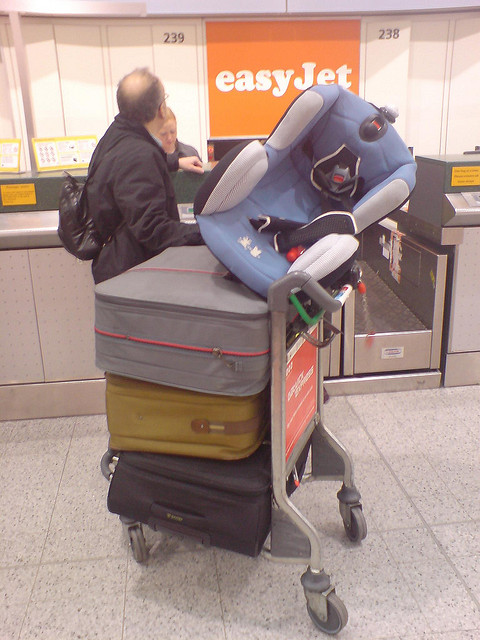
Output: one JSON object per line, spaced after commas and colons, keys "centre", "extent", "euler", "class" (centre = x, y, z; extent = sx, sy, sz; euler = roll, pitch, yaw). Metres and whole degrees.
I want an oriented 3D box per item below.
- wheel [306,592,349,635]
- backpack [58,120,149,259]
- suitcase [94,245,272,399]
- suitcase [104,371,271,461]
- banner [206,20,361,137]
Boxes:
{"centre": [0.212, 0.688, 1.237], "extent": [0.100, 0.124, 0.088], "euler": [2, 15, 13], "class": "wheel"}
{"centre": [-0.475, -0.427, 1.702], "extent": [0.226, 0.492, 0.182], "euler": [-8, 18, -43], "class": "backpack"}
{"centre": [-0.098, -0.008, 1.200], "extent": [0.435, 0.235, 0.337], "euler": [5, 17, 23], "class": "suitcase"}
{"centre": [-0.132, 0.231, 1.364], "extent": [0.423, 0.203, 0.347], "euler": [1, 1, 9], "class": "suitcase"}
{"centre": [0.369, -2.157, 4.604], "extent": [1.318, 0.929, 0.168], "euler": [-3, 13, -3], "class": "banner"}
